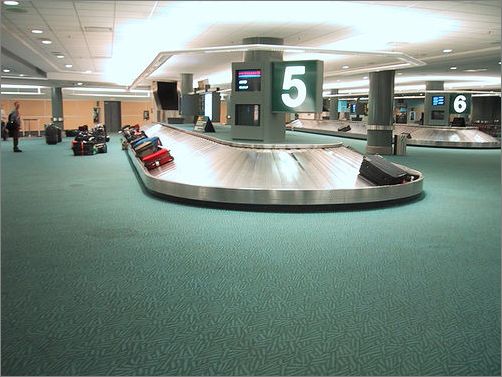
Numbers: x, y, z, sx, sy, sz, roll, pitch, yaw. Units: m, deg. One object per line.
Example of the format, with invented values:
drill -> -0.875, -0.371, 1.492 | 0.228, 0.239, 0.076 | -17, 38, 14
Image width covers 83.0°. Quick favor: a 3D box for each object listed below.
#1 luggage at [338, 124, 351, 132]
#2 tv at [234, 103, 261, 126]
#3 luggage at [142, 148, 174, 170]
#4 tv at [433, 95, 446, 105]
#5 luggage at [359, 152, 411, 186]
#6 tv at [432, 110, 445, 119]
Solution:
luggage -> 8.115, -5.334, 24.513 | 0.807, 0.214, 0.851 | -34, 20, -18
tv -> -0.114, -2.252, 8.755 | 0.863, 0.689, 0.110 | 4, 15, 17
luggage -> -2.487, -0.757, 7.511 | 0.751, 0.524, 0.406 | -4, 14, -18
tv -> 14.113, -6.583, 21.133 | 0.824, 0.589, 0.420 | 7, 16, 43
luggage -> 3.008, -0.414, 6.261 | 0.893, 0.259, 0.847 | -7, 37, -46
tv -> 14.359, -5.624, 21.586 | 0.775, 0.562, 0.282 | 10, 27, 34
